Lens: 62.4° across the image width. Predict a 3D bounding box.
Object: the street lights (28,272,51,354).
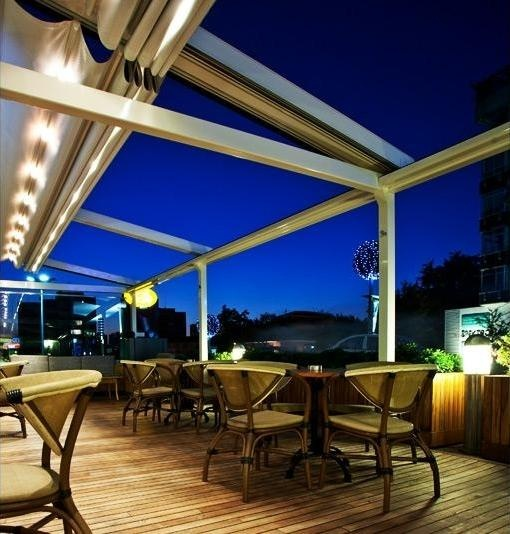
[{"bbox_3d":[-5.282,1.137,10.395,0.262,1.936,0.473,-6,-13,26],"label":"street lights"}]
